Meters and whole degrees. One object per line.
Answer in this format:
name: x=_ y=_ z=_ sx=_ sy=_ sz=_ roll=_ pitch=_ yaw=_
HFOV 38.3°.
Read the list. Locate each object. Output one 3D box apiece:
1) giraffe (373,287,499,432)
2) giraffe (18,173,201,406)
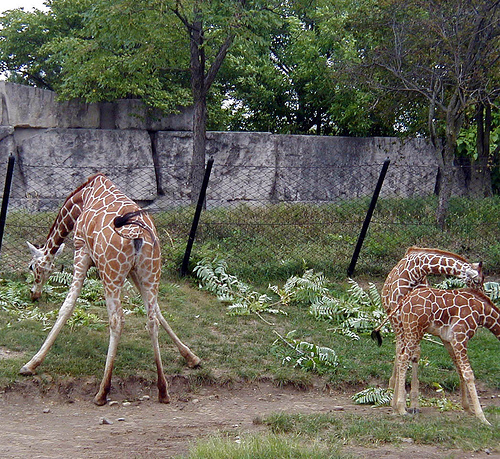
giraffe: x=2.188 y=1.435 z=8.534 sx=1.381 sy=1.531 sz=1.264 roll=5 pitch=6 yaw=12
giraffe: x=-2.127 y=0.688 z=9.726 sx=1.760 sy=2.998 sz=3.100 roll=-10 pitch=6 yaw=-43
